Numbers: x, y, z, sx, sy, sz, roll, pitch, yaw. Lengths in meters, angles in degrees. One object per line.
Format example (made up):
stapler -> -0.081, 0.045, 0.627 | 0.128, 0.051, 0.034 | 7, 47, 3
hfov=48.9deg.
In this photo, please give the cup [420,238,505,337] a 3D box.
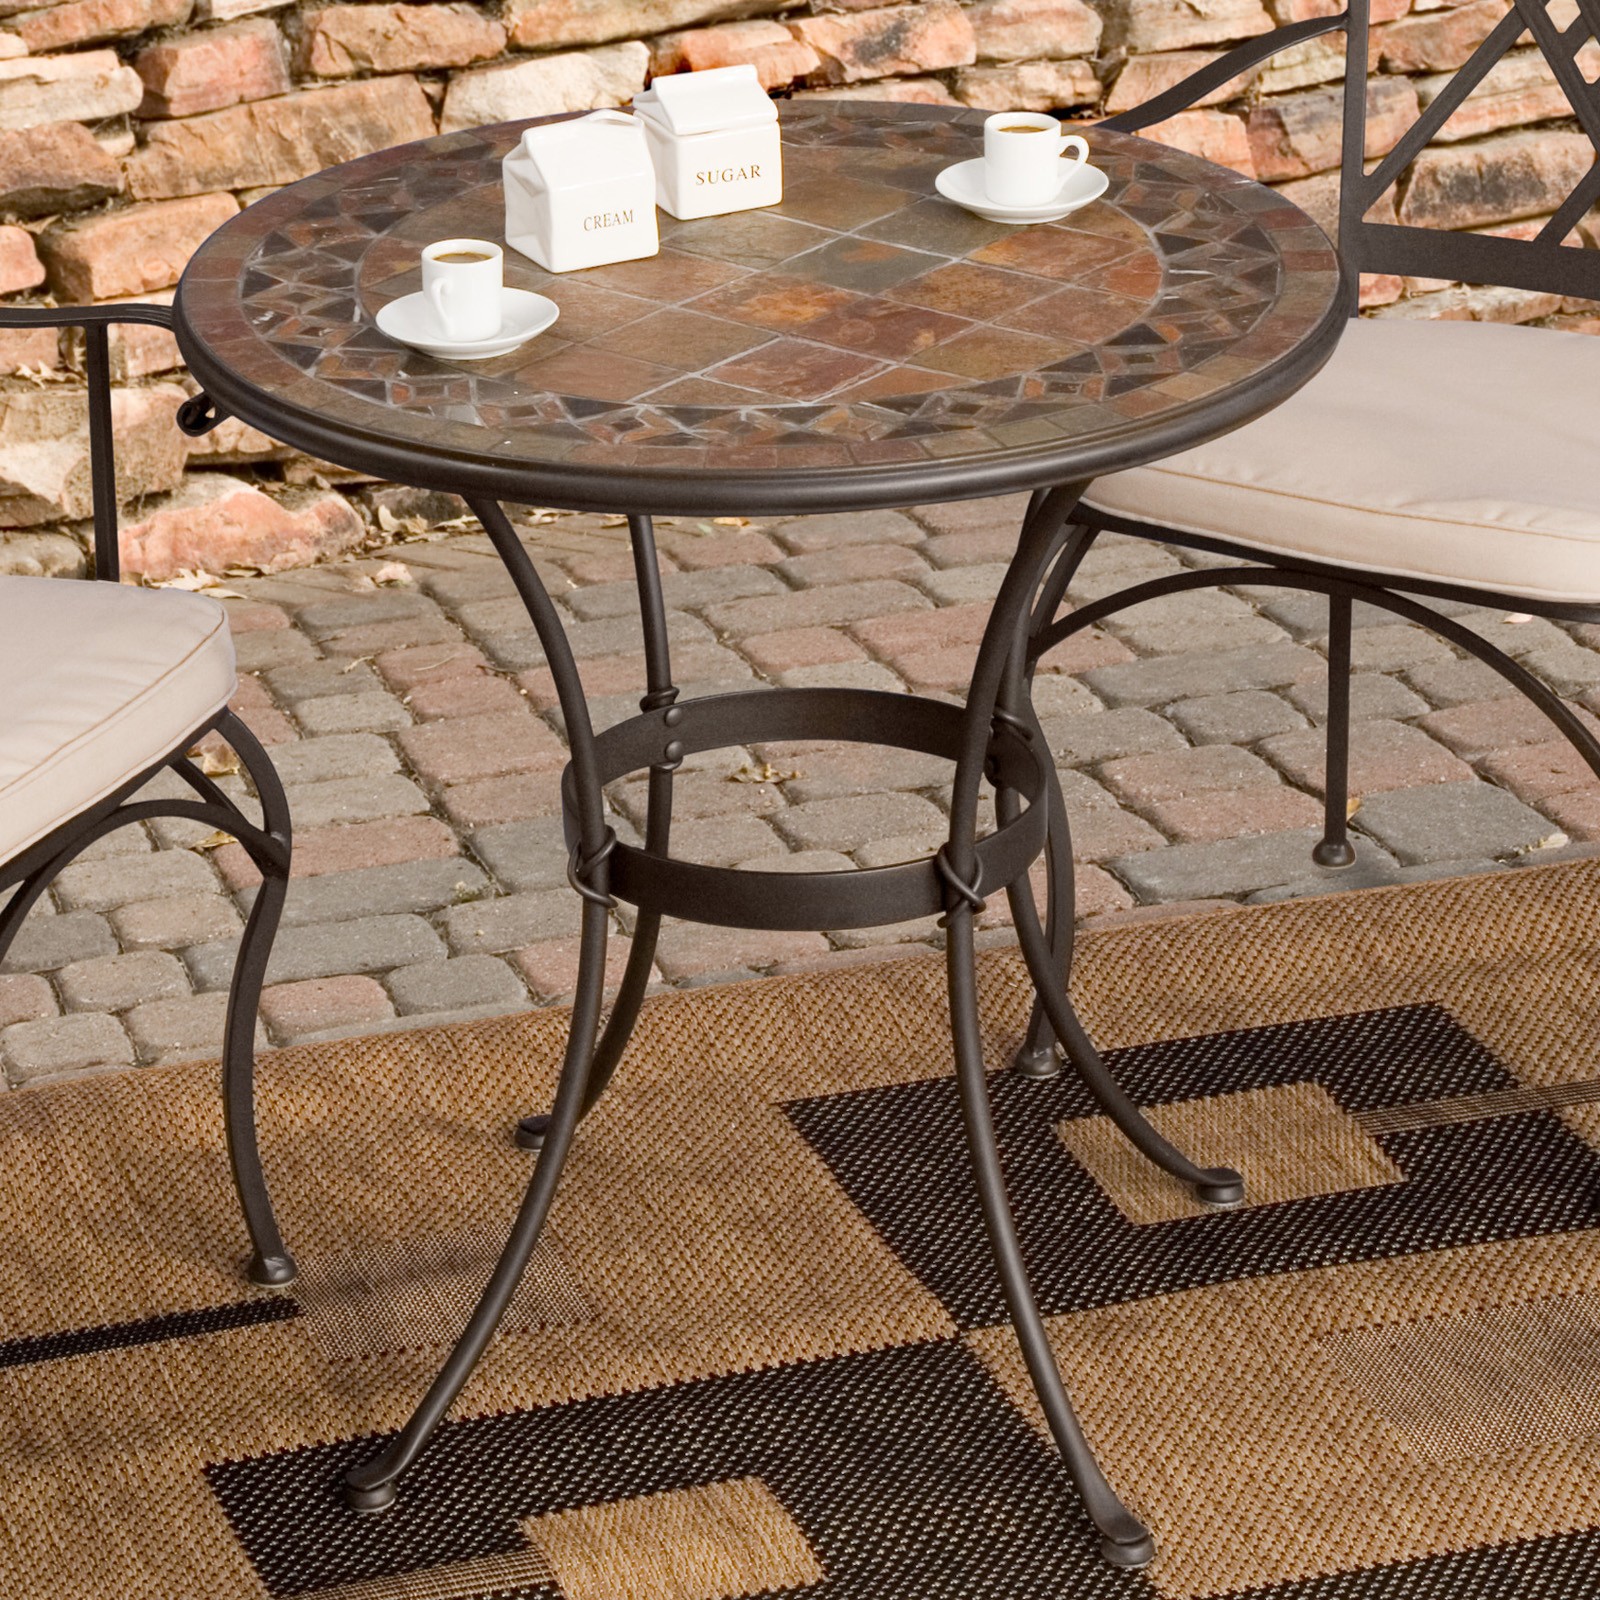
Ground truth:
cup -> -0.241, -0.392, 1.355 | 0.080, 0.059, 0.098 | 6, 27, 7
